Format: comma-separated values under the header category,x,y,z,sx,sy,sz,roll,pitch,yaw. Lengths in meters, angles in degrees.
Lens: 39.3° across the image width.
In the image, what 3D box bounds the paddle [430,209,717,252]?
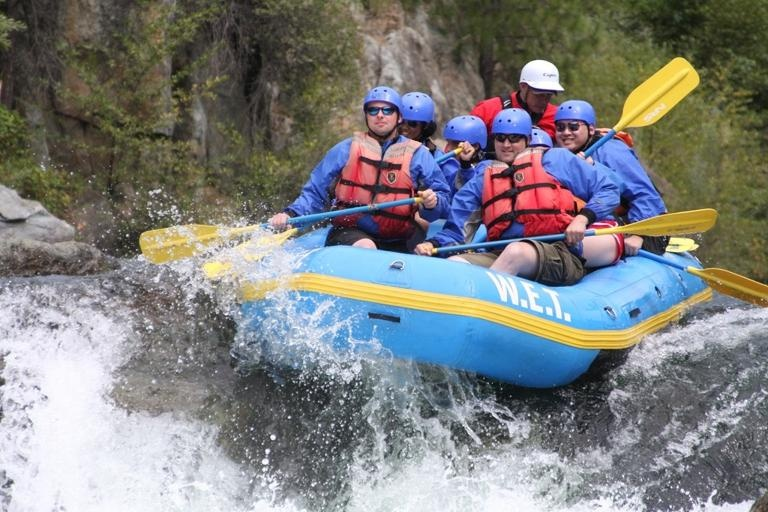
category,x,y,z,sx,sy,sz,roll,pitch,yaw
paddle,1.880,-0.276,11.311,2.299,0.254,0.163,-7,7,0

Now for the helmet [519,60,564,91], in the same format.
category,x,y,z,sx,sy,sz,roll,pitch,yaw
helmet,1.755,-2.072,12.268,0.344,0.226,0.425,-6,18,-41

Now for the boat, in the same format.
category,x,y,z,sx,sy,sz,roll,pitch,yaw
boat,0.880,0.535,10.861,3.046,0.751,2.086,11,4,-4

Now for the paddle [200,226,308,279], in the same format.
category,x,y,z,sx,sy,sz,roll,pitch,yaw
paddle,-1.319,0.012,11.116,1.238,0.065,0.360,-22,57,-23
